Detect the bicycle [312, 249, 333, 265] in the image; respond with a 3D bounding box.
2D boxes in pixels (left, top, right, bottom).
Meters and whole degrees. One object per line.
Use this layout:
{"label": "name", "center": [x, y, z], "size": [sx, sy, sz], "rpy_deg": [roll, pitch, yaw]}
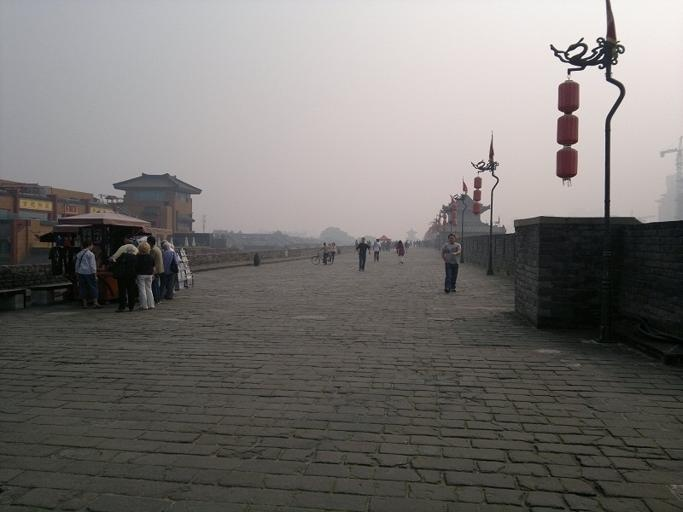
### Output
{"label": "bicycle", "center": [-1.444, 0.057, 36.380], "size": [1.644, 1.020, 0.824], "rpy_deg": [2, 7, 9]}
